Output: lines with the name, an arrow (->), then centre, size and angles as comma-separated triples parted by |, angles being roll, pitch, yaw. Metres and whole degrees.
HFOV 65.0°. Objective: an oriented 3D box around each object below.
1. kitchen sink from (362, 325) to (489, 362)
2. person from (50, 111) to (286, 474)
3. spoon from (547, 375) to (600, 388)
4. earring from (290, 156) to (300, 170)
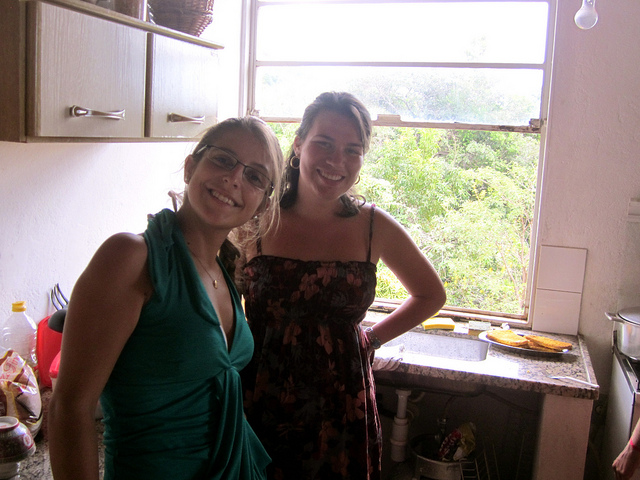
kitchen sink -> 0.665, 0.602, 2.854 | 0.591, 0.137, 0.393 | 2, -14, 15
person -> -0.314, 0.178, 1.184 | 0.305, 0.971, 0.537 | 5, 8, 19
spoon -> 1.104, 0.620, 2.197 | 0.171, 0.025, 0.018 | 11, -23, 32
earring -> -0.088, -0.284, 1.830 | 0.042, 0.043, 0.010 | 3, -2, -25
